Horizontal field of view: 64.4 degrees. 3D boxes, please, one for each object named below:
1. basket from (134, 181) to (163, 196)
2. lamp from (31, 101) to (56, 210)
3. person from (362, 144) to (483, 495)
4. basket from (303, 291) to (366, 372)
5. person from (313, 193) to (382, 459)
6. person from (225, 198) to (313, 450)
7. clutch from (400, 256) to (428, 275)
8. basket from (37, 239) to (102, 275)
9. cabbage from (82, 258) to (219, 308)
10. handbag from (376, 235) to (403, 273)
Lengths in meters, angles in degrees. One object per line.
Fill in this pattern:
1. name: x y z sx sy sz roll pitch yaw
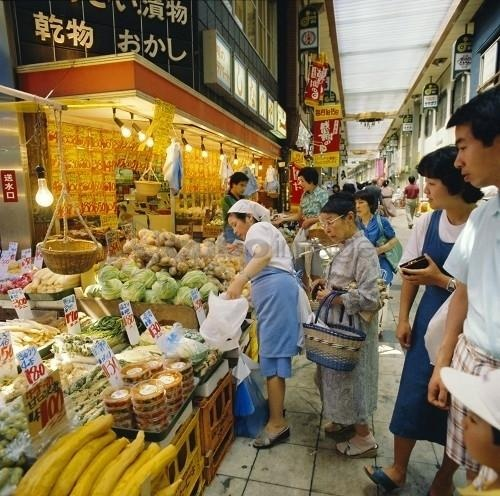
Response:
1. basket: -1.138 -0.675 4.456 0.254 0.168 0.283 -2 9 -5
2. lamp: -1.545 -0.547 2.957 0.097 0.467 0.102 -3 3 18
3. person: 0.879 0.377 2.343 0.465 1.895 0.551 10 16 25
4. basket: 0.500 0.519 2.509 0.433 0.486 0.494 1 10 13
5. person: 0.656 0.504 2.797 0.559 1.651 0.538 -1 5 -16
6. person: 0.181 0.522 2.941 0.625 1.722 0.603 1 5 13
7. clutch: 0.860 0.088 2.085 0.143 0.101 0.079 4 10 31
8. basket: -1.198 0.059 2.746 0.308 0.150 0.331 4 9 5
9. cabbage: -0.800 0.276 3.237 1.044 0.299 0.541 0 9 9
10. handbag: 1.411 0.061 4.063 0.120 0.331 0.292 -14 5 43
